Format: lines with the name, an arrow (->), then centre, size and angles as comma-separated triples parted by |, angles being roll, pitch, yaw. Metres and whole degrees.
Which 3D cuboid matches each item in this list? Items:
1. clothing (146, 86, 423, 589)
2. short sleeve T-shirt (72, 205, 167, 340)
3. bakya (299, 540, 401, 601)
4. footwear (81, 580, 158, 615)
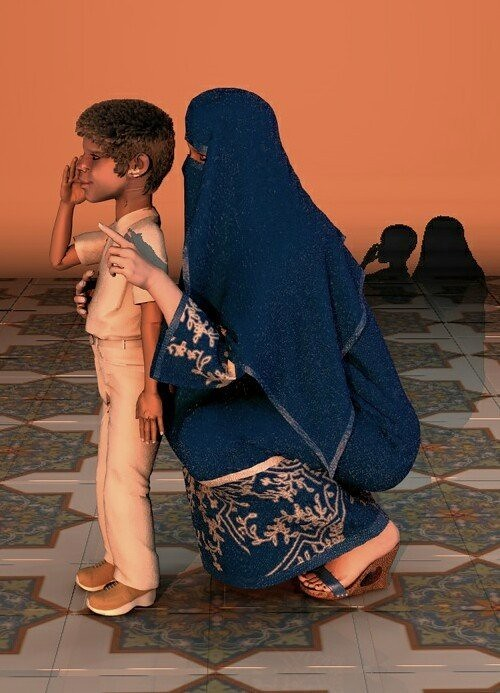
clothing -> 0.038, 0.043, 1.201 | 0.546, 1.014, 0.258 | -6, 12, -27
short sleeve T-shirt -> -0.246, -0.140, 1.220 | 0.143, 0.247, 0.266 | -3, 17, -39
bakya -> 0.218, 0.482, 1.372 | 0.211, 0.108, 0.107 | 2, 11, -15
footwear -> -0.268, 0.499, 1.255 | 0.148, 0.051, 0.064 | 1, 13, -11
